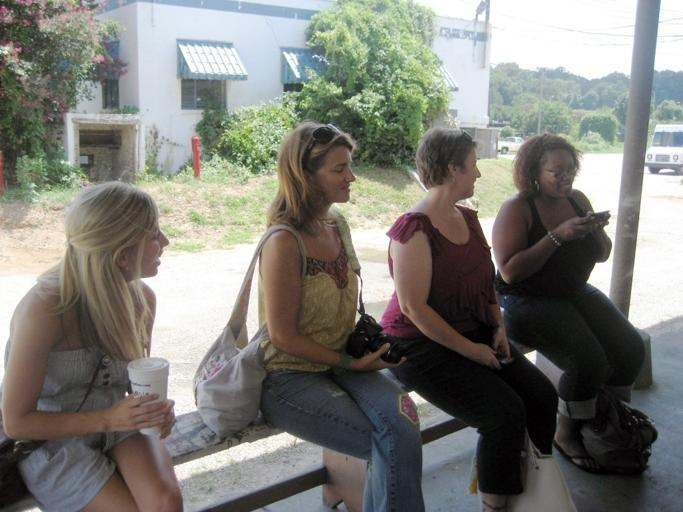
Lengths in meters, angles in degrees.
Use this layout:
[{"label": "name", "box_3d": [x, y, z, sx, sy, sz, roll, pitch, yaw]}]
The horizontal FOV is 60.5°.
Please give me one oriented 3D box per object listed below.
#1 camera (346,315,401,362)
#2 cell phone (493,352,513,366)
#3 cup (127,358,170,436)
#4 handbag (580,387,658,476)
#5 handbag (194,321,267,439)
[{"label": "camera", "box_3d": [0.173, 0.415, 2.912, 0.274, 0.164, 0.253, 20, 14, 16]}, {"label": "cell phone", "box_3d": [0.838, 0.531, 3.043, 0.061, 0.026, 0.085, -6, 26, -31]}, {"label": "cup", "box_3d": [-0.775, 0.500, 2.364, 0.154, 0.171, 0.121, -1, 11, -9]}, {"label": "handbag", "box_3d": [1.612, 1.057, 3.657, 0.432, 0.563, 0.494, -2, 24, 5]}, {"label": "handbag", "box_3d": [-0.533, 0.578, 2.809, 0.335, 0.462, 0.305, -3, 11, -16]}]
